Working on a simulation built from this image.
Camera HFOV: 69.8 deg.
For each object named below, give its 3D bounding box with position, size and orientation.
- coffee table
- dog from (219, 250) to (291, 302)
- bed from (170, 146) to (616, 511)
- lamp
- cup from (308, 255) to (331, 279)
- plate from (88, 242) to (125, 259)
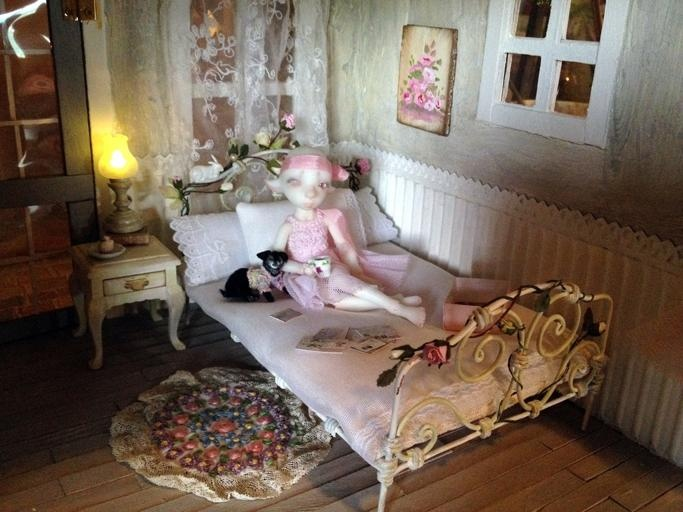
[{"bbox_3d":[-1.610,0.323,3.614,0.693,0.669,0.615,-12,23,-43],"label":"coffee table"},{"bbox_3d":[-0.582,0.115,3.395,0.541,0.355,0.259,-1,27,1],"label":"dog"},{"bbox_3d":[0.166,0.173,2.838,1.220,0.923,1.824,-20,34,-31],"label":"bed"},{"bbox_3d":[-1.646,-0.524,3.586,0.293,0.718,0.323,-9,24,-19],"label":"lamp"},{"bbox_3d":[-0.136,0.061,3.243,0.159,0.107,0.099,7,20,24],"label":"cup"},{"bbox_3d":[-1.641,-0.058,3.391,0.219,0.109,0.192,-4,21,-11],"label":"plate"}]
